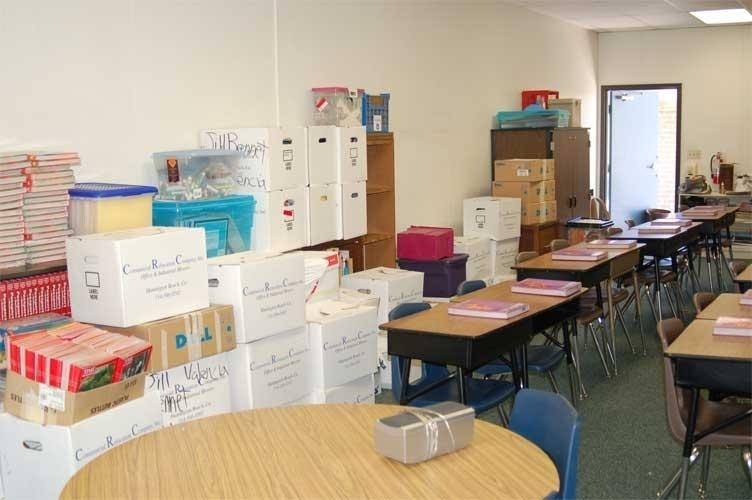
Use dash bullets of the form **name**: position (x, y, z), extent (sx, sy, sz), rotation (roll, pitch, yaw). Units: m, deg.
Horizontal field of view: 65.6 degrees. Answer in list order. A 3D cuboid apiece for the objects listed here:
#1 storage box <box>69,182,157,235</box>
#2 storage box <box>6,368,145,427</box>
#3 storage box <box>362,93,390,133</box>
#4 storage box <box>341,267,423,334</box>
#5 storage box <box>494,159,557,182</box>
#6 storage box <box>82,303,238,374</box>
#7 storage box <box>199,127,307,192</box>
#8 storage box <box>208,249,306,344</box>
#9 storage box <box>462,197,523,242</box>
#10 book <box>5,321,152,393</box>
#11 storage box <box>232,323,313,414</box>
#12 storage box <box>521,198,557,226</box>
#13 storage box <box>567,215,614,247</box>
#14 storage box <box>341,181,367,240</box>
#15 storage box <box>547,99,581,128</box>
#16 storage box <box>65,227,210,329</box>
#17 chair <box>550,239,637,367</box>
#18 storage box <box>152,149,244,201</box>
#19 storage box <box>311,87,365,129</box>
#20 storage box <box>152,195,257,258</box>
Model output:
- **storage box**: position (-1.856, -0.287, 3.944), extent (0.412, 0.253, 0.417), rotation (5, 5, 33)
- **storage box**: position (-1.564, 0.756, 3.064), extent (0.383, 0.144, 0.371), rotation (13, 6, 15)
- **storage box**: position (0.012, -1.440, 6.124), extent (0.155, 0.398, 0.596), rotation (2, 13, 18)
- **storage box**: position (0.067, 0.387, 5.434), extent (0.500, 0.447, 0.688), rotation (4, 6, 37)
- **storage box**: position (2.004, -1.079, 7.867), extent (0.786, 0.285, 0.332), rotation (0, 13, 9)
- **storage box**: position (-1.148, 0.528, 3.544), extent (0.407, 0.217, 0.568), rotation (3, 13, 38)
- **storage box**: position (-1.013, -0.774, 5.061), extent (0.680, 0.426, 0.666), rotation (-6, 9, -43)
- **storage box**: position (-0.761, 0.266, 4.028), extent (0.539, 0.602, 0.751), rotation (1, 5, 36)
- **storage box**: position (1.468, -0.385, 7.307), extent (0.589, 0.499, 0.588), rotation (2, 5, 36)
- **book**: position (-1.620, 0.552, 3.079), extent (0.413, 0.147, 0.426), rotation (13, 6, 21)
- **storage box**: position (-0.715, 0.781, 3.859), extent (0.193, 0.497, 0.608), rotation (-1, 3, 44)
- **storage box**: position (2.189, -0.506, 7.828), extent (0.324, 0.273, 0.597), rotation (7, 9, 41)
- **storage box**: position (2.548, -0.221, 6.969), extent (0.413, 0.529, 0.425), rotation (-11, 15, -43)
- **storage box**: position (-0.227, -0.398, 5.656), extent (0.197, 0.547, 0.581), rotation (0, 3, 22)
- **storage box**: position (2.902, -2.067, 8.865), extent (0.475, 0.450, 0.485), rotation (8, 12, 41)
- **storage box**: position (-1.442, 0.154, 3.535), extent (0.798, 0.530, 0.420), rotation (-8, 14, -26)
- **chair**: position (2.046, 0.497, 5.470), extent (0.672, 1.136, 1.180), rotation (2, 8, 34)
- **storage box**: position (-1.394, -0.607, 4.638), extent (0.689, 0.378, 0.379), rotation (-7, 14, -22)
- **storage box**: position (-0.385, -1.369, 5.837), extent (0.451, 0.419, 0.457), rotation (5, 6, 41)
- **storage box**: position (-1.415, -0.246, 4.707), extent (0.487, 0.498, 0.811), rotation (3, 6, 31)
